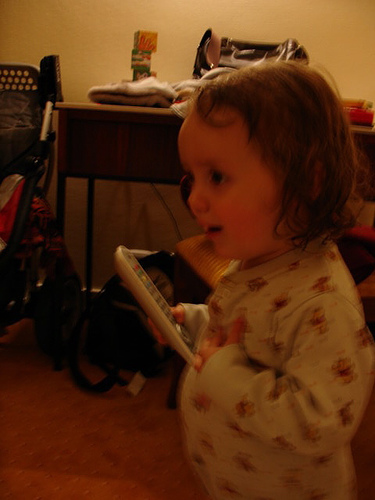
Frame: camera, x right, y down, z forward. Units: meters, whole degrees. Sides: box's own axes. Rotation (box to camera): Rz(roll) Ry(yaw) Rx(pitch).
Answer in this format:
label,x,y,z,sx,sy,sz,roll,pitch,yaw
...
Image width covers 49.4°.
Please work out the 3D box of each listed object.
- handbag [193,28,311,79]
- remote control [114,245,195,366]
label,x,y,z,sx,sy,sz,roll,pitch,yaw
handbag,0.200,-0.625,1.274,0.346,0.154,0.137,1,37,21
remote control,-0.042,0.074,0.534,0.106,0.148,0.136,2,11,1
